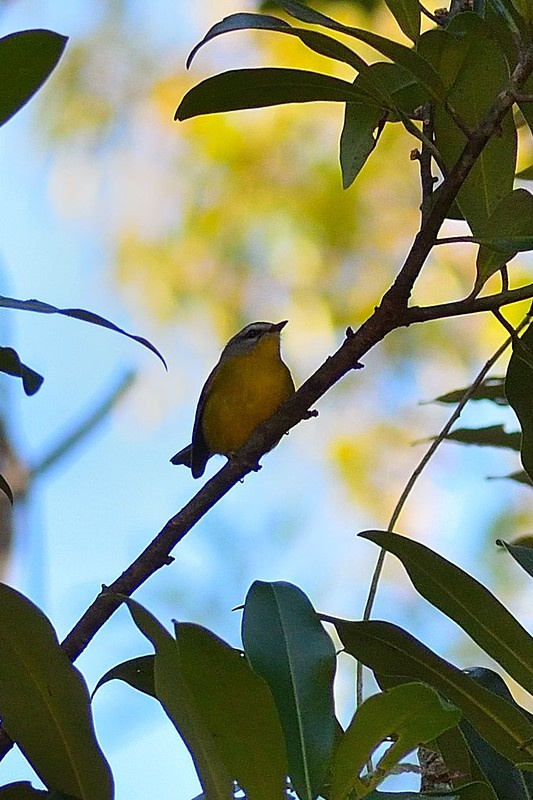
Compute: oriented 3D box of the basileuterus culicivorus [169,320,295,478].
[{"bbox_3d":[-0.088,-0.007,4.288,0.314,0.474,0.491,7,-7,-23],"label":"basileuterus culicivorus"}]
